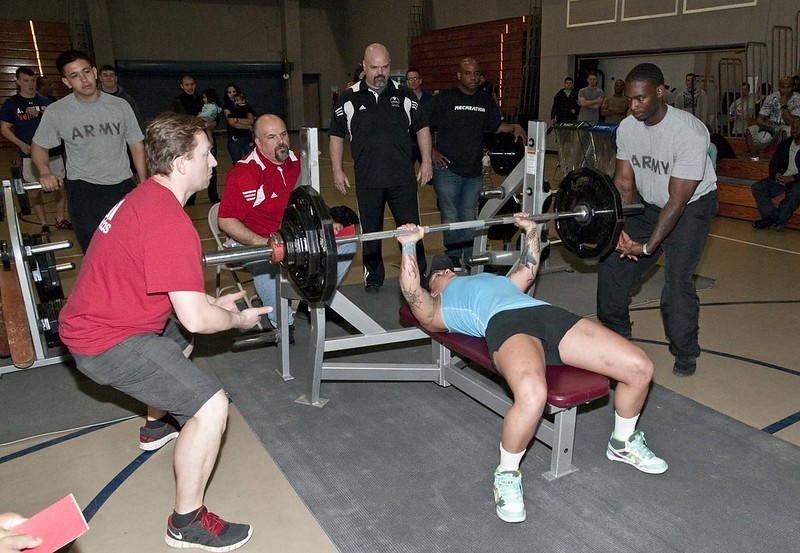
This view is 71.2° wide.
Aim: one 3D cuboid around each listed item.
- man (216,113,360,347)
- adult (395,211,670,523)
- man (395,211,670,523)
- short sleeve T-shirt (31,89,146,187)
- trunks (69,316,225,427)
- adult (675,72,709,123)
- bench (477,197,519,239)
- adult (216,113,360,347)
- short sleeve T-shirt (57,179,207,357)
[{"bbox_3d":[-0.685,-0.302,3.304,0.726,1.217,0.823,11,26,9],"label":"man"},{"bbox_3d":[0.520,0.278,2.581,0.808,0.734,1.488,-8,28,-17],"label":"adult"},{"bbox_3d":[0.498,0.287,2.571,0.838,0.751,1.494,-8,27,-18],"label":"man"},{"bbox_3d":[-1.863,-0.824,3.341,0.623,0.530,0.265,-18,40,-42],"label":"short sleeve T-shirt"},{"bbox_3d":[-0.906,0.368,2.162,0.128,0.461,0.433,13,-15,14],"label":"trunks"},{"bbox_3d":[4.077,-2.408,7.818,0.387,0.861,0.212,3,43,31],"label":"adult"},{"bbox_3d":[0.867,-0.464,4.539,0.466,0.251,0.252,-2,4,-39],"label":"bench"},{"bbox_3d":[-0.750,-0.316,3.335,0.657,1.210,0.750,22,26,19],"label":"adult"},{"bbox_3d":[-1.006,-0.029,2.015,0.562,0.579,0.290,-7,22,-14],"label":"short sleeve T-shirt"}]
